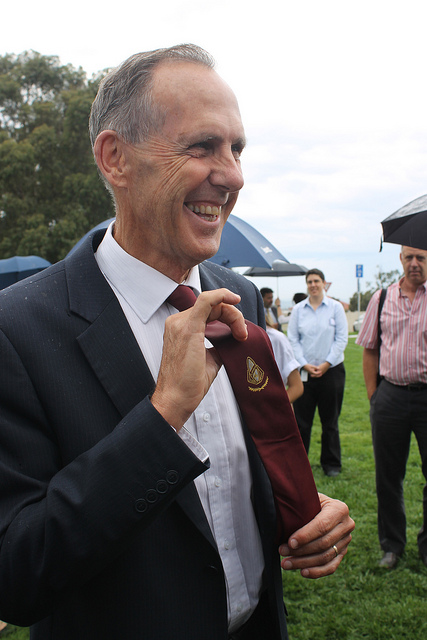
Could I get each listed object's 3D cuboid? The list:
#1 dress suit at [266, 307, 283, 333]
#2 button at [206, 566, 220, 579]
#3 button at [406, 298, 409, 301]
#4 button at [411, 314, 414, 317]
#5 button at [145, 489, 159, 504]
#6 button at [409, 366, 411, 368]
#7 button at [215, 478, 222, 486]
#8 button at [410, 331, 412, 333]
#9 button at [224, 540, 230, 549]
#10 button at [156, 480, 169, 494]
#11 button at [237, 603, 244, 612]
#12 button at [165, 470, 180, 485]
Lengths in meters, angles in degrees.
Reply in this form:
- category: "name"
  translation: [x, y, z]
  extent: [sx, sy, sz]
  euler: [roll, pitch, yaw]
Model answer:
- category: "dress suit"
  translation: [0.821, -0.014, 8.179]
  extent: [0.172, 0.177, 0.552]
  euler: [-17, -17, 14]
- category: "button"
  translation: [-0.003, 0.608, 1.460]
  extent: [0.032, 0.033, 0.007]
  euler: [-1, 27, 20]
- category: "button"
  translation: [1.325, -0.136, 4.145]
  extent: [0.010, 0.017, 0.019]
  euler: [2, 8, 43]
- category: "button"
  translation: [1.341, -0.024, 4.089]
  extent: [0.018, 0.016, 0.008]
  euler: [1, 7, 36]
- category: "button"
  translation: [-0.134, 0.382, 1.310]
  extent: [0.030, 0.027, 0.010]
  euler: [-3, 6, -5]
- category: "button"
  translation: [1.270, 0.304, 3.916]
  extent: [0.012, 0.011, 0.011]
  euler: [7, 3, 34]
- category: "button"
  translation: [0.010, 0.424, 1.580]
  extent: [0.022, 0.020, 0.008]
  euler: [8, -9, -36]
- category: "button"
  translation: [1.317, 0.084, 4.048]
  extent: [0.013, 0.011, 0.012]
  euler: [9, 27, 20]
- category: "button"
  translation: [0.035, 0.589, 1.586]
  extent: [0.020, 0.004, 0.019]
  euler: [20, 18, -38]
- category: "button"
  translation: [-0.112, 0.364, 1.319]
  extent: [0.028, 0.026, 0.006]
  euler: [-1, -7, -32]
- category: "button"
  translation: [0.070, 0.760, 1.603]
  extent: [0.005, 0.018, 0.019]
  euler: [1, 0, 41]
- category: "button"
  translation: [-0.091, 0.346, 1.333]
  extent: [0.030, 0.028, 0.010]
  euler: [-2, -3, -27]
